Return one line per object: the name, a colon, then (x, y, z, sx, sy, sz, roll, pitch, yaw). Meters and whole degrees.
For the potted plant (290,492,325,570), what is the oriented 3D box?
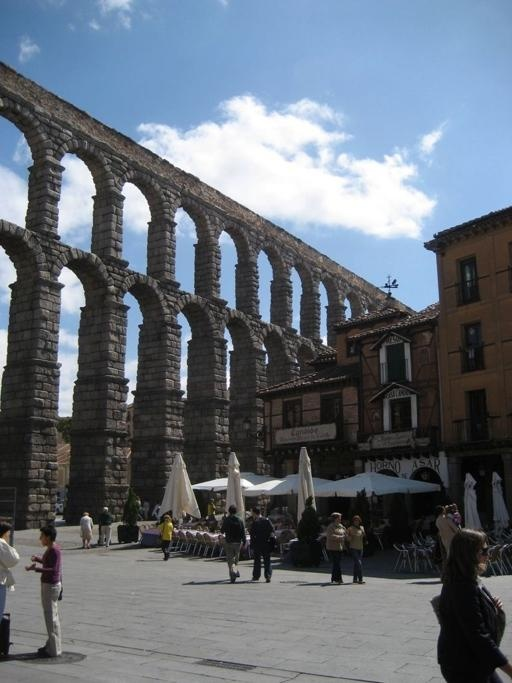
potted plant: (1.119, 4.310, 17.741, 0.639, 1.486, 0.594, -2, -12, 4)

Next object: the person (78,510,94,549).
person: (-4.753, 5.285, 21.989, 0.296, 0.962, 1.384, 2, -12, -13)

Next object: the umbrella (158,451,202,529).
umbrella: (-2.131, 4.046, 22.030, 1.027, 1.860, 1.218, 1, -12, -7)

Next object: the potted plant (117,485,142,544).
potted plant: (-3.791, 5.226, 23.651, 0.943, 1.521, 0.934, -3, -6, 30)

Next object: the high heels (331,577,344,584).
high heels: (1.422, 4.260, 13.963, 0.246, 0.104, 0.081, -16, -19, 40)
